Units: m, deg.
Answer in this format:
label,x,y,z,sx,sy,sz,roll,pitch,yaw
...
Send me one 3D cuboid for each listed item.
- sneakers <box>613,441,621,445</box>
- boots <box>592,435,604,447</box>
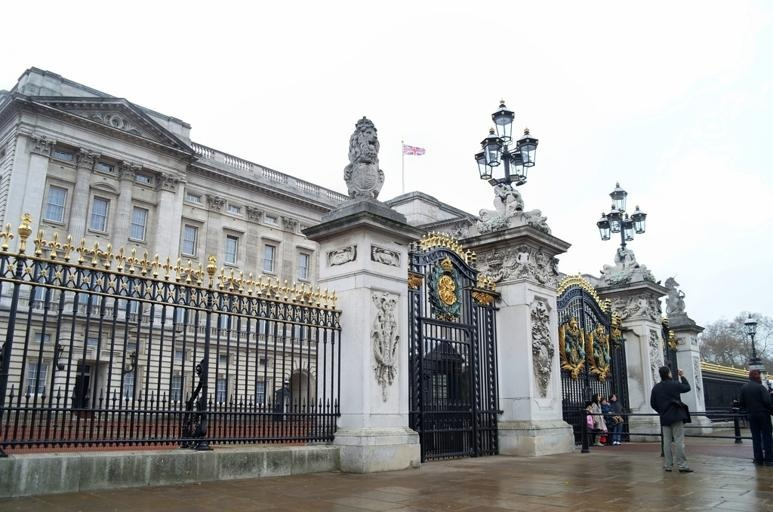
label,x,y,z,sx,sy,sz,roll,pitch,yaw
sneakers,7.706,6.246,21.270,0.104,0.131,0.307,24,-32,-36
boots,6.902,6.002,20.694,0.296,0.315,1.124,-10,-20,18
